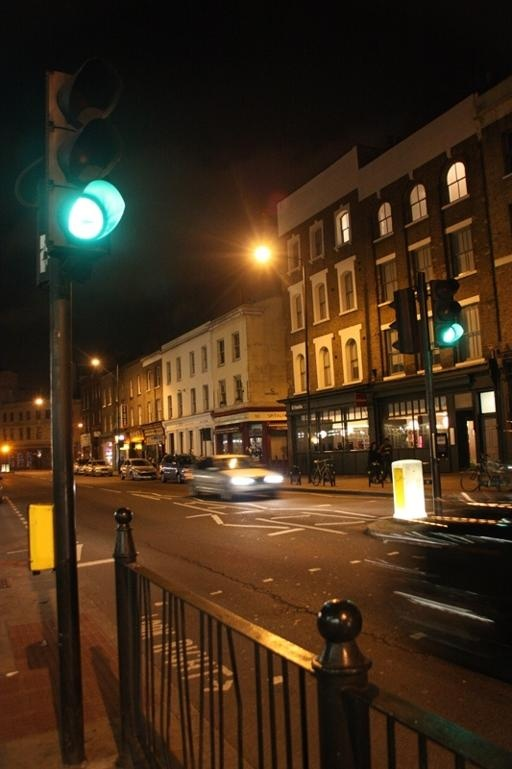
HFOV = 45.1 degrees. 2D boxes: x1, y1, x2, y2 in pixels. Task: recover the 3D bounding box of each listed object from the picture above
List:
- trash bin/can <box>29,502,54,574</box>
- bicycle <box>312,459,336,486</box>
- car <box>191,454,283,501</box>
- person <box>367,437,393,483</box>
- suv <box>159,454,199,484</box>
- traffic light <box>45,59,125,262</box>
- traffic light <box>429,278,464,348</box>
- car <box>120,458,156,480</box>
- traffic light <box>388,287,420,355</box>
[{"bbox_3d":[-1.155,0.821,3.333,0.125,0.261,0.088,1,-9,-36],"label":"trash bin/can"},{"bbox_3d":[2.674,3.268,22.970,0.668,0.878,1.408,4,-13,-17],"label":"bicycle"},{"bbox_3d":[-0.870,3.028,20.295,1.363,1.010,2.912,3,-13,-23],"label":"car"},{"bbox_3d":[4.346,2.700,21.728,0.703,1.539,2.755,-4,-6,14],"label":"person"},{"bbox_3d":[-4.448,4.474,33.211,1.828,1.716,3.150,4,-16,-28],"label":"suv"},{"bbox_3d":[-0.863,-1.141,3.085,0.378,0.945,0.273,-2,-6,-13],"label":"traffic light"},{"bbox_3d":[2.951,-1.153,9.640,0.429,1.090,0.528,-5,-6,17],"label":"traffic light"},{"bbox_3d":[-7.424,5.391,39.223,1.147,0.923,2.630,4,-15,-28],"label":"car"},{"bbox_3d":[2.399,-1.038,9.999,0.430,1.103,0.438,-4,-6,14],"label":"traffic light"}]
